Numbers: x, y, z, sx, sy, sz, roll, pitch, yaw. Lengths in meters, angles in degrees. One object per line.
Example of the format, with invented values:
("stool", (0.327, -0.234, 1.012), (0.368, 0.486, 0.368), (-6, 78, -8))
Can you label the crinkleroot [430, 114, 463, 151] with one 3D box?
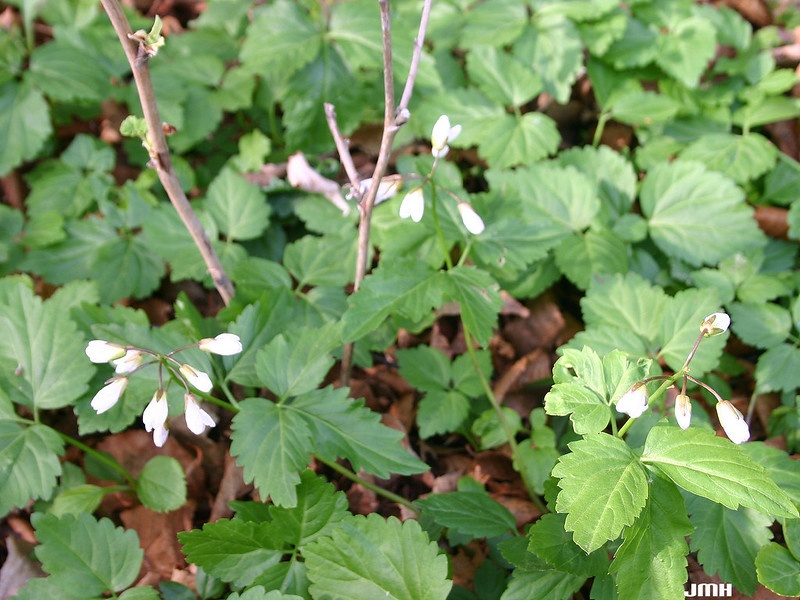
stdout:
("crinkleroot", (0.193, -0.741, 3.196), (0.101, 0.203, 0.052), (4, 38, -9))

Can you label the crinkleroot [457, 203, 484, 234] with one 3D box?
("crinkleroot", (0.337, -0.381, 3.314), (0.091, 0.035, 0.180), (-39, 70, 21))

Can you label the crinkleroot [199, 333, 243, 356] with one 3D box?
("crinkleroot", (-0.794, 0.196, 3.166), (0.160, 0.054, 0.120), (6, 96, -27))

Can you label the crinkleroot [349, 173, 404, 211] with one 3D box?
("crinkleroot", (-0.091, -0.546, 3.442), (0.271, 0.107, 0.171), (-20, 30, -17))

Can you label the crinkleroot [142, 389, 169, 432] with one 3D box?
("crinkleroot", (-1.046, 0.468, 3.031), (0.107, 0.044, 0.180), (15, 92, 39))

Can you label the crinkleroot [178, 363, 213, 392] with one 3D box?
("crinkleroot", (-0.892, 0.338, 3.094), (0.144, 0.046, 0.102), (17, 80, -32))

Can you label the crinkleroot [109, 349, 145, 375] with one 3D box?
("crinkleroot", (-1.189, 0.279, 3.116), (0.122, 0.046, 0.112), (-21, 78, 13))
